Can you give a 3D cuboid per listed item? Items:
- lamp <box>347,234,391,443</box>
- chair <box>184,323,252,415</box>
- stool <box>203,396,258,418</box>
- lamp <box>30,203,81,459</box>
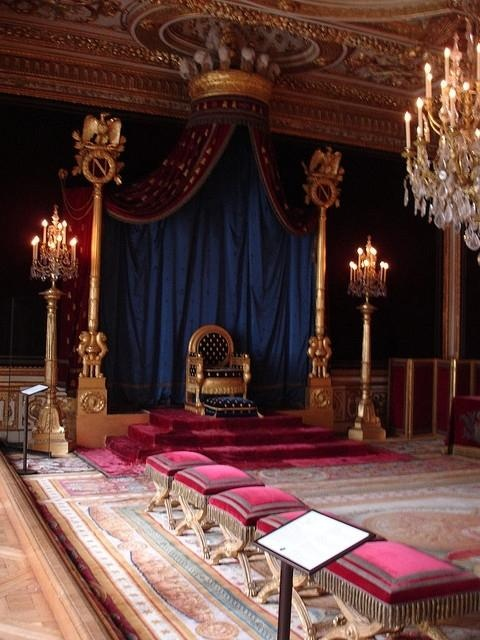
[{"bbox_3d":[1.652,0.194,7.253,0.502,2.674,1.194,1,-1,11],"label":"lamp"},{"bbox_3d":[-0.228,0.533,6.242,0.750,0.948,0.896,1,-1,-8],"label":"chair"},{"bbox_3d":[-0.112,0.922,5.985,0.603,0.179,0.427,1,-1,3],"label":"stool"},{"bbox_3d":[-1.925,0.082,5.766,0.448,1.662,0.838,1,-1,-17],"label":"lamp"}]
